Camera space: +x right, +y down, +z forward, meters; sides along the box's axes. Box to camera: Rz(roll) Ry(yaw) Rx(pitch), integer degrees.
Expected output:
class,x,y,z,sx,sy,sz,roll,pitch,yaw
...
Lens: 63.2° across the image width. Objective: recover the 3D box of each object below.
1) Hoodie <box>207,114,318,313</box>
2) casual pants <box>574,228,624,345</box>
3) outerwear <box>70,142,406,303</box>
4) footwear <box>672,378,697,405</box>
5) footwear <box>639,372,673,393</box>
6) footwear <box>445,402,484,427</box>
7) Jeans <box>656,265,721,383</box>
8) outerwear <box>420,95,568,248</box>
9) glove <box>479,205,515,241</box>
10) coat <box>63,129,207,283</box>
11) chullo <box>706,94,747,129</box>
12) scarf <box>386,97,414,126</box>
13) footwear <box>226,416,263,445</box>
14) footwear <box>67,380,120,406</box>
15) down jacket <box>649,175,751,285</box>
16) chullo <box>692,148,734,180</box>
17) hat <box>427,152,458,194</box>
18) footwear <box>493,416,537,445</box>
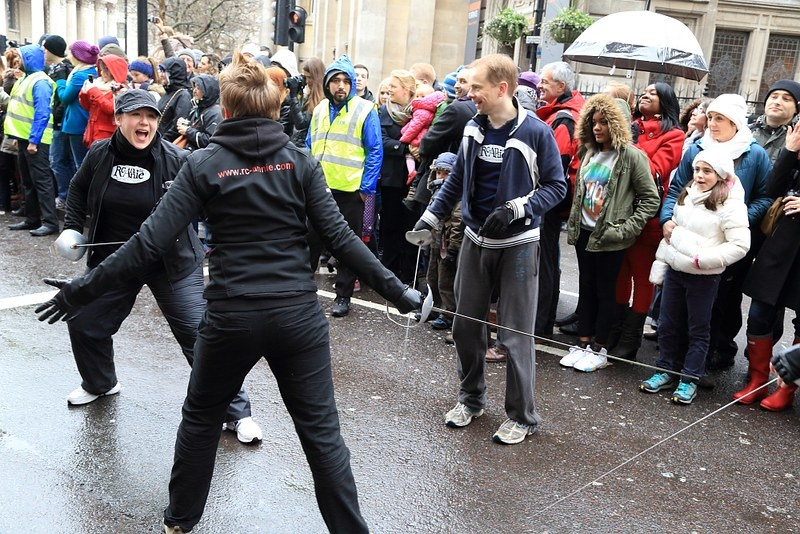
class,x,y,z,sx,sy,sz,roll,pitch,yaw
Hoodie,-0.772,-0.318,3.633,0.596,1.005,0.415,1,17,-11
casual pants,1.979,0.208,6.507,0.360,1.251,0.527,-2,11,-36
outerwear,-1.147,-0.332,4.544,2.158,0.891,0.490,-1,6,-2
footwear,2.533,1.120,5.763,0.120,0.147,0.329,-1,-5,34
footwear,2.355,1.040,5.994,0.404,0.156,0.136,-3,20,-30
footwear,0.500,1.181,5.259,0.343,0.149,0.143,1,14,-42
Jeans,2.583,0.500,5.992,0.382,1.085,0.477,1,5,-33
outerwear,0.816,-0.793,5.445,1.620,1.295,0.934,10,14,39
glove,0.709,-0.322,4.730,0.164,0.272,0.075,42,21,13
coat,-2.060,-0.539,5.066,1.082,0.900,0.566,2,5,-30
chullo,3.060,-1.453,6.014,0.387,0.323,0.331,-2,3,-17
scarf,0.007,-1.911,8.008,0.340,0.272,0.135,-7,-10,13
footwear,-1.146,1.199,4.830,0.297,0.109,0.146,9,16,41
footwear,-2.474,1.015,5.229,0.397,0.153,0.137,-4,6,-31
down jacket,2.701,-0.343,5.837,0.505,0.876,0.829,13,12,-32
chullo,2.727,-0.918,5.618,0.306,0.229,0.283,-1,22,-41
hat,0.474,-1.035,6.858,0.333,0.354,0.346,0,17,-23
footwear,0.896,1.276,5.035,0.358,0.148,0.148,2,-3,-33
